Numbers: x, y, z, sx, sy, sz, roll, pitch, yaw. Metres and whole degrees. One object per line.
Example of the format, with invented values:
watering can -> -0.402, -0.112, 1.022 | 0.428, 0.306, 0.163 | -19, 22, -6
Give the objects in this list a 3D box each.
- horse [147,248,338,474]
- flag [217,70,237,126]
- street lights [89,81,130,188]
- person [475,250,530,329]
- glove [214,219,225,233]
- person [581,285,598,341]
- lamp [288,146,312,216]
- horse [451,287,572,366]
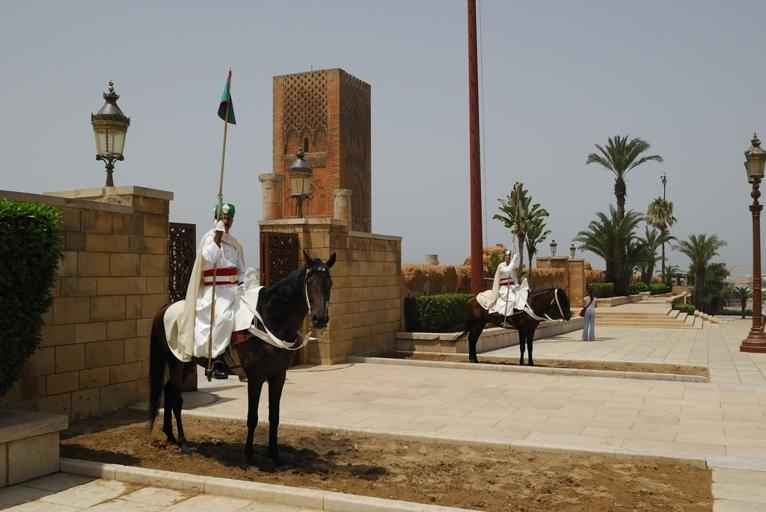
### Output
horse -> -2.382, 1.669, 13.538 | 3.983, 2.932, 1.137 | -5, -9, 33
flag -> -2.596, -2.636, 14.147 | 0.316, 0.165, 1.101 | -9, -41, -25
street lights -> -5.306, -2.365, 16.500 | 0.635, 2.029, 0.548 | 1, -1, -30
person -> 3.042, 0.729, 20.695 | 1.877, 1.623, 0.916 | -4, -2, 42
glove -> -2.568, -0.462, 13.294 | 0.153, 0.209, 0.292 | 0, -1, -2
person -> 6.933, 1.995, 28.372 | 0.455, 1.577, 1.845 | 0, -1, 13
lamp -> -2.027, -1.750, 20.758 | 0.616, 1.637, 0.614 | 2, 4, 35
horse -> 3.307, 1.704, 20.618 | 2.446, 1.835, 0.874 | 0, -1, 10
